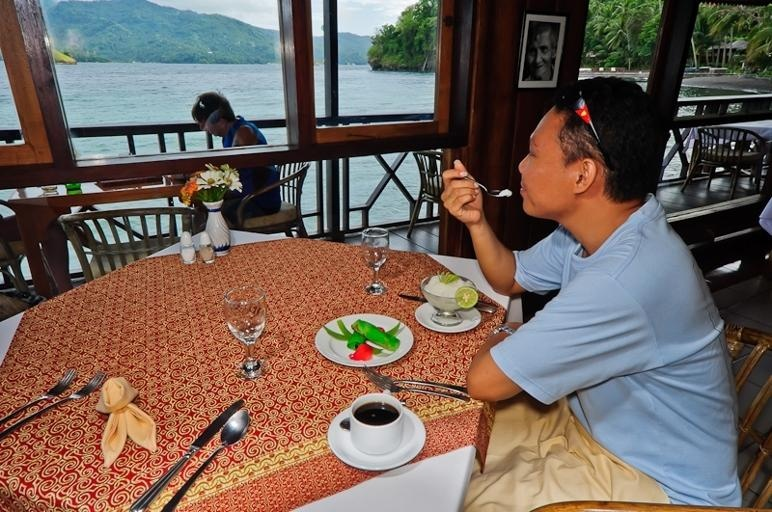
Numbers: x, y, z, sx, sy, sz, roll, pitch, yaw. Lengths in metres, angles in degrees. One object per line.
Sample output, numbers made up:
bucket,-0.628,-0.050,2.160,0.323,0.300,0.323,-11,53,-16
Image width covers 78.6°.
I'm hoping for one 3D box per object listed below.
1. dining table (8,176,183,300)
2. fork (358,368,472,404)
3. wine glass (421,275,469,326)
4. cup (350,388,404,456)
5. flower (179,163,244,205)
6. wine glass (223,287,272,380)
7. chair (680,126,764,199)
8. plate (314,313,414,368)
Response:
dining table,-2.057,-0.287,3.481,1.040,1.024,0.726,-15,33,-32
fork,0.087,0.396,1.419,0.262,0.039,0.046,9,35,-1
wine glass,0.215,0.134,1.723,0.165,0.125,0.167,-6,22,-13
cup,-0.019,0.462,1.293,0.133,0.105,0.140,0,39,0
flower,-0.817,-0.332,2.189,0.253,0.186,0.193,-13,31,-20
wine glass,-0.438,0.252,1.486,0.124,0.285,0.131,-14,33,-21
chair,4.137,-1.136,5.760,0.569,0.819,0.601,-32,37,-20
plate,-0.081,0.275,1.582,0.193,0.023,0.195,-11,29,-23
